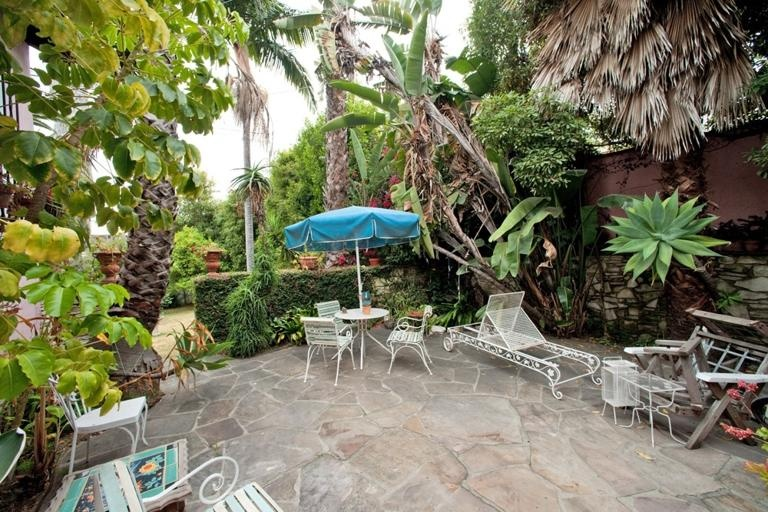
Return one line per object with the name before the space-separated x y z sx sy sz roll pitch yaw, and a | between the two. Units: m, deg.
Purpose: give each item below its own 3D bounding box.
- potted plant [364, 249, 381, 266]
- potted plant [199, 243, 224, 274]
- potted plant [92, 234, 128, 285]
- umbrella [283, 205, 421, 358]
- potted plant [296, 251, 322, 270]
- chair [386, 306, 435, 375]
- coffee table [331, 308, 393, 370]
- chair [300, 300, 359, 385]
potted plant | -0.281 0.019 11.910 0.501 0.500 0.412 0 -8 -9
potted plant | -3.885 0.098 10.160 0.350 0.572 1.047 -3 1 -20
potted plant | -4.842 0.072 7.867 0.694 0.980 0.708 -5 -3 42
umbrella | -0.380 0.201 8.934 2.857 2.507 2.973 -2 0 -16
potted plant | -1.913 0.065 11.230 0.556 0.402 0.566 -2 -10 -1
chair | 0.511 1.510 8.231 0.925 1.101 0.794 -4 7 -7
coffee table | -0.370 1.494 8.493 0.966 0.798 0.920 1 5 25
chair | -0.988 1.523 8.179 0.930 1.199 1.935 -2 1 -5
